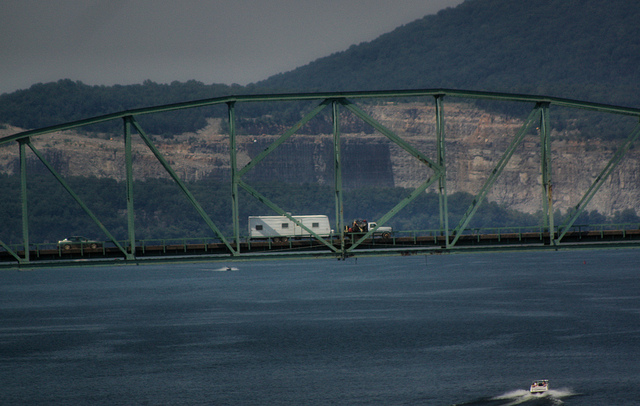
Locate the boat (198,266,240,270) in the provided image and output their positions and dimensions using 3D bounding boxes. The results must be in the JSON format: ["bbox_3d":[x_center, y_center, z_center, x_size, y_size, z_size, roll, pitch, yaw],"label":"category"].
[{"bbox_3d":[-32.558,21.266,582.809,10.936,0.742,4.753,2,6,3],"label":"boat"}]

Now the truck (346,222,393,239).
[{"bbox_3d":[18.175,8.421,550.507,12.397,4.381,5.791,-1,2,-4],"label":"truck"}]

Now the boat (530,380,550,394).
[{"bbox_3d":[67.979,54.588,512.945,5.509,3.883,2.071,3,7,4],"label":"boat"}]
